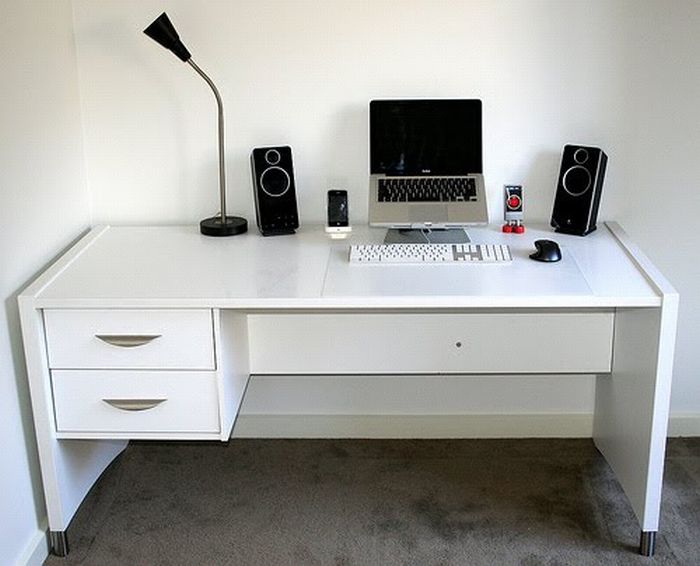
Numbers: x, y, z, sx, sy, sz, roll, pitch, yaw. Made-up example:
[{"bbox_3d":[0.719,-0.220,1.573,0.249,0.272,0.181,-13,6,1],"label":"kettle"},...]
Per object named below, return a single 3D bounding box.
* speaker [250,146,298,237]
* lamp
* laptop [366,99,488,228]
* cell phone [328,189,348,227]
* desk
[{"bbox_3d":[-0.258,-0.299,2.155,0.153,0.357,0.184,-5,-19,-5],"label":"speaker"},{"bbox_3d":[-0.527,-0.540,2.067,0.281,0.730,0.209,-4,16,-11],"label":"lamp"},{"bbox_3d":[0.259,-0.418,1.988,0.369,0.312,0.378,-2,35,3],"label":"laptop"},{"bbox_3d":[-0.042,-0.269,2.109,0.075,0.144,0.014,1,32,2],"label":"cell phone"},{"bbox_3d":[-0.030,0.311,2.133,1.851,1.013,0.768,4,27,-3],"label":"desk"}]
